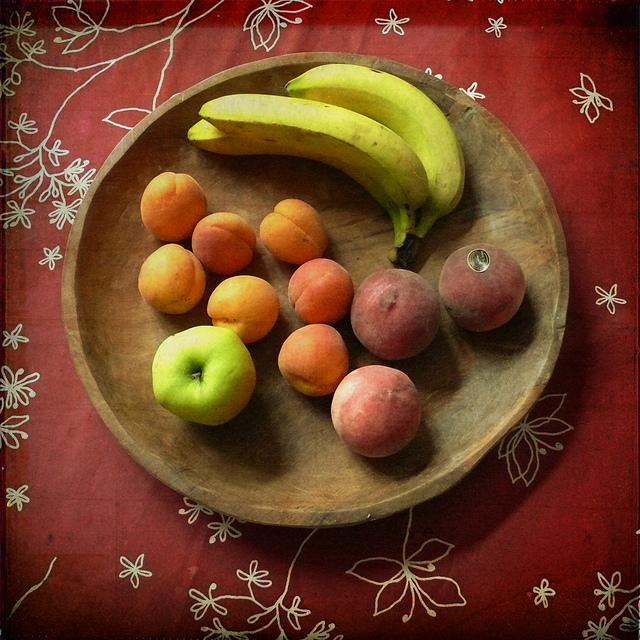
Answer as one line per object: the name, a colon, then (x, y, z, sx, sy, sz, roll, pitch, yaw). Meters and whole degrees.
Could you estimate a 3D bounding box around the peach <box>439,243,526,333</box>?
peach: (0.318, -0.080, 1.495, 0.143, 0.172, 0.150, 11, 25, 28)

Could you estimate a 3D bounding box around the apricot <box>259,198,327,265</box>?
apricot: (-0.063, -0.175, 1.506, 0.134, 0.118, 0.116, -12, 19, -26)

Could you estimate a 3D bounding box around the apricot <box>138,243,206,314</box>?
apricot: (-0.300, -0.085, 1.506, 0.124, 0.146, 0.162, -4, 84, 28)

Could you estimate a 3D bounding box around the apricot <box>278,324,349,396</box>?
apricot: (-0.011, 0.078, 1.454, 0.129, 0.120, 0.115, -2, 62, 5)

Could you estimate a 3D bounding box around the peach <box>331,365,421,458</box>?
peach: (0.108, 0.175, 1.429, 0.169, 0.143, 0.156, -22, 63, -5)

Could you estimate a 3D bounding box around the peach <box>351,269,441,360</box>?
peach: (0.145, -0.009, 1.484, 0.157, 0.147, 0.162, 40, 111, 32)

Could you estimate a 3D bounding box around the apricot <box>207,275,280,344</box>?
apricot: (-0.154, -0.017, 1.499, 0.111, 0.125, 0.130, -1, 62, -29)

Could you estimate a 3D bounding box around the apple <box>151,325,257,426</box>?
apple: (-0.220, 0.116, 1.456, 0.192, 0.156, 0.156, -20, 63, -4)
